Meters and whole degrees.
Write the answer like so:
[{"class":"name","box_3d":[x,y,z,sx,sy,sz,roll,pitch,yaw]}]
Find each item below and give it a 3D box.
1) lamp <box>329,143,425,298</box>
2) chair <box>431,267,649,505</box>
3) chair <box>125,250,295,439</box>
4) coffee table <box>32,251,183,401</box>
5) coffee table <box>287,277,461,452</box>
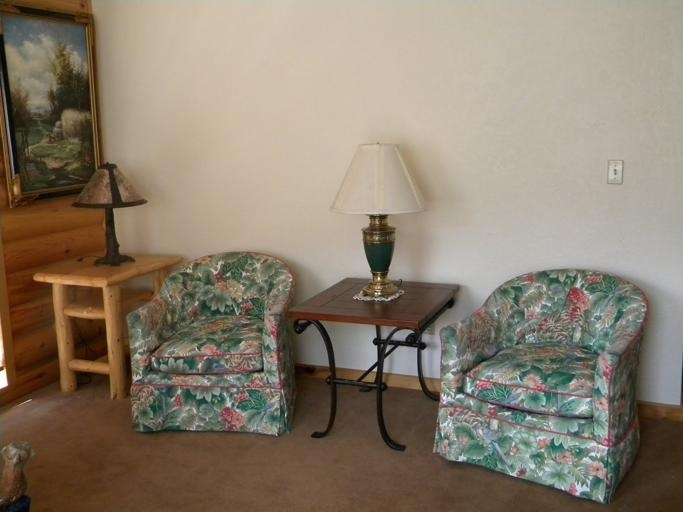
[{"class":"lamp","box_3d":[0.205,-0.200,3.195,0.527,0.879,0.321,0,16,-3]},{"class":"chair","box_3d":[1.089,0.632,2.945,0.950,0.928,0.833,10,17,30]},{"class":"chair","box_3d":[-0.681,0.557,3.639,1.146,1.069,1.027,1,13,7]},{"class":"coffee table","box_3d":[-1.685,0.362,4.167,0.901,1.086,1.142,4,10,17]},{"class":"coffee table","box_3d":[0.241,0.396,3.348,0.929,0.854,1.189,2,10,19]}]
